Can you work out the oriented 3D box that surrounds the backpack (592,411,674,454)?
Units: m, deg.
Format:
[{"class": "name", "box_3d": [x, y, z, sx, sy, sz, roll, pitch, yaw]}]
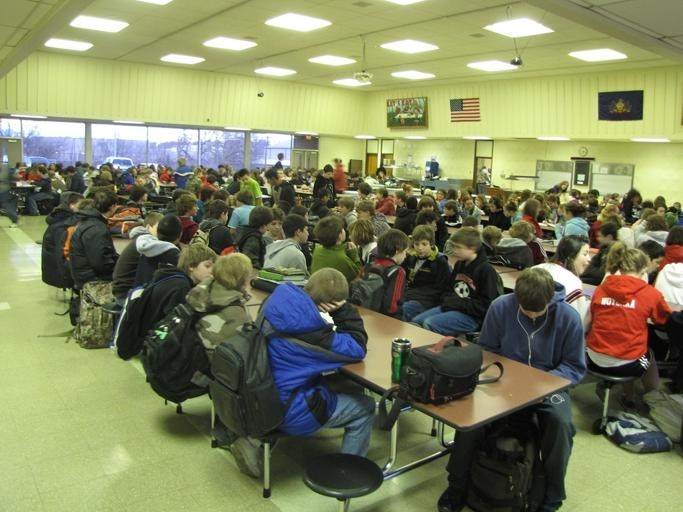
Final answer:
[{"class": "backpack", "box_3d": [2.431, 1.423, 5.001, 0.328, 0.106, 0.352, -1, 13, -16]}]

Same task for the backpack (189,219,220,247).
[{"class": "backpack", "box_3d": [-1.500, -0.244, 6.633, 0.190, 0.356, 0.266, 24, -6, -28]}]

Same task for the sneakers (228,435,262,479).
[{"class": "sneakers", "box_3d": [-0.682, 1.490, 4.519, 0.233, 0.345, 0.118, -6, 9, 40]}]

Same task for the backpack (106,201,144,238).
[{"class": "backpack", "box_3d": [-2.787, -0.486, 7.972, 0.509, 0.253, 0.645, 10, 15, 15]}]

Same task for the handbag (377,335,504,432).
[{"class": "handbag", "box_3d": [0.593, 0.864, 3.964, 0.659, 0.524, 0.219, 3, 8, -3]}]

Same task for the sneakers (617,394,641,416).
[{"class": "sneakers", "box_3d": [2.630, 1.369, 5.450, 0.125, 0.072, 0.198, -7, 17, -4]}]

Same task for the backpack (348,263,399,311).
[{"class": "backpack", "box_3d": [0.297, 0.284, 5.152, 0.317, 0.307, 0.174, 22, 0, 33]}]

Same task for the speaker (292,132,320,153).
[{"class": "speaker", "box_3d": [-1.185, -3.948, 20.969, 1.009, 0.540, 0.223, -2, 9, -33]}]
